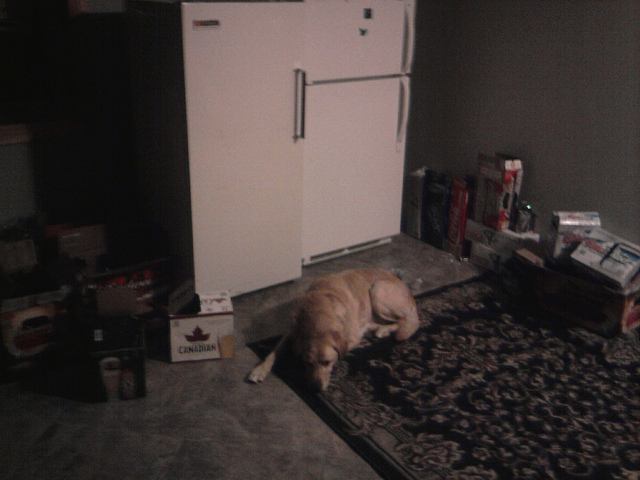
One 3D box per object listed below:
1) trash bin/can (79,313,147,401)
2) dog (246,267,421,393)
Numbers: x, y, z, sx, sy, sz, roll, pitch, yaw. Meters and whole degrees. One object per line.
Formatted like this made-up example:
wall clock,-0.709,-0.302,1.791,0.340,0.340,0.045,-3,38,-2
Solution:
trash bin/can,-1.308,0.700,3.359,0.380,0.566,0.544,-6,19,-20
dog,0.227,0.471,3.626,0.589,0.419,1.180,5,18,31
